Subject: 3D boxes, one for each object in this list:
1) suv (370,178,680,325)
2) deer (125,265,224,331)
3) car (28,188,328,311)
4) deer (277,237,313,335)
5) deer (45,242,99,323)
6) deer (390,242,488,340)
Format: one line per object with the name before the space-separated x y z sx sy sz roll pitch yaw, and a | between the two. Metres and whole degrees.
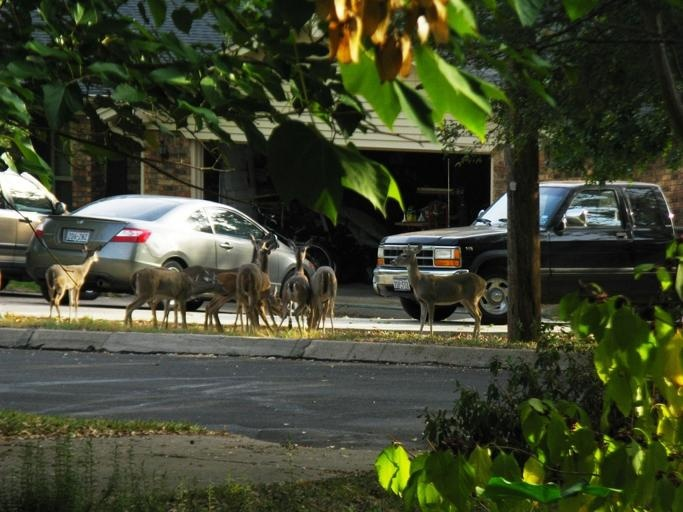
suv | 3.141 -0.091 16.096 4.850 2.181 2.196 0 1 1
deer | -2.221 0.469 12.831 1.673 1.154 0.568 -2 3 -28
car | -2.442 0.016 14.624 3.403 1.798 3.290 -10 9 -39
deer | -0.576 0.406 12.502 0.444 1.259 0.480 -2 5 -11
deer | -3.435 0.409 12.337 0.666 0.908 7.072 -1 1 -15
deer | 1.318 0.406 12.502 0.954 1.277 0.952 1 7 41
